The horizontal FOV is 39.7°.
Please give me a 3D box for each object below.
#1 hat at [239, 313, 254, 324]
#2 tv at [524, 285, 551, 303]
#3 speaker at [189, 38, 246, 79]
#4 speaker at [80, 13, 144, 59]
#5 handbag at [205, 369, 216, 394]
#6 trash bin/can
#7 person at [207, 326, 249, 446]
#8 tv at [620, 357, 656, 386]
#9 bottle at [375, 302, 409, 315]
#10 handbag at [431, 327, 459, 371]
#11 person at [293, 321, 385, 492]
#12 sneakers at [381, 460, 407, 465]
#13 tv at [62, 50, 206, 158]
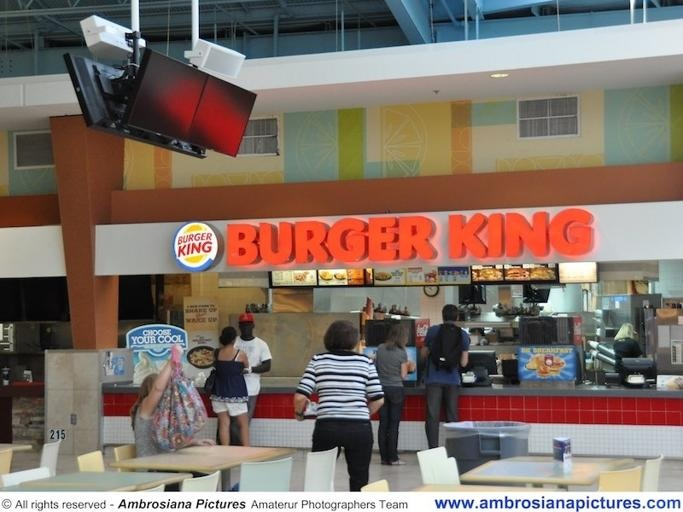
[{"bbox_3d":[-1.299,0.833,12.815,0.203,0.096,0.276,1,-7,-6],"label":"hat"},{"bbox_3d":[3.385,0.649,16.558,0.348,0.229,0.354,1,-7,6],"label":"tv"},{"bbox_3d":[-1.303,-2.035,9.855,0.411,0.322,0.584,32,16,29],"label":"speaker"},{"bbox_3d":[-2.314,-2.062,9.409,0.433,0.363,0.562,-17,4,19],"label":"speaker"},{"bbox_3d":[-1.671,1.573,12.000,0.103,0.271,0.199,7,-4,4],"label":"handbag"},{"bbox_3d":[1.409,1.967,9.644,0.613,0.451,0.613,0,-11,-4],"label":"trash bin/can"},{"bbox_3d":[-1.463,1.636,12.043,0.537,1.508,0.418,0,-2,-8],"label":"person"},{"bbox_3d":[3.843,1.500,12.346,0.468,0.357,0.364,-1,-2,12],"label":"tv"},{"bbox_3d":[0.928,0.941,16.668,0.268,0.146,0.442,-4,-8,32],"label":"bottle"},{"bbox_3d":[1.327,1.140,12.090,0.406,0.602,0.172,-1,-2,-2],"label":"handbag"},{"bbox_3d":[-0.027,1.402,9.017,0.803,1.575,0.507,-1,-2,3],"label":"person"},{"bbox_3d":[0.647,2.588,12.105,0.290,0.090,0.098,0,-4,-11],"label":"sneakers"},{"bbox_3d":[-2.213,-1.542,9.602,0.409,0.812,1.275,-2,-2,28],"label":"tv"}]
